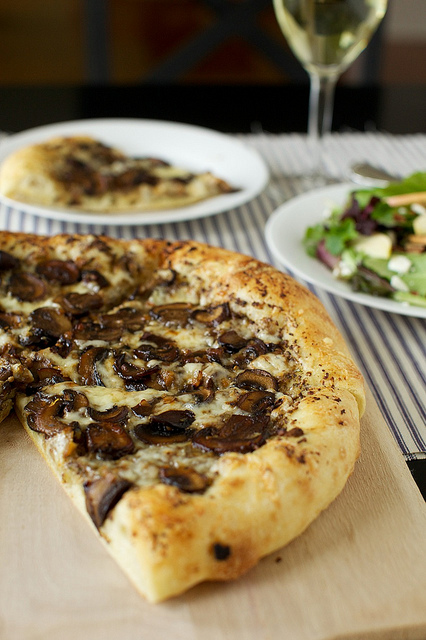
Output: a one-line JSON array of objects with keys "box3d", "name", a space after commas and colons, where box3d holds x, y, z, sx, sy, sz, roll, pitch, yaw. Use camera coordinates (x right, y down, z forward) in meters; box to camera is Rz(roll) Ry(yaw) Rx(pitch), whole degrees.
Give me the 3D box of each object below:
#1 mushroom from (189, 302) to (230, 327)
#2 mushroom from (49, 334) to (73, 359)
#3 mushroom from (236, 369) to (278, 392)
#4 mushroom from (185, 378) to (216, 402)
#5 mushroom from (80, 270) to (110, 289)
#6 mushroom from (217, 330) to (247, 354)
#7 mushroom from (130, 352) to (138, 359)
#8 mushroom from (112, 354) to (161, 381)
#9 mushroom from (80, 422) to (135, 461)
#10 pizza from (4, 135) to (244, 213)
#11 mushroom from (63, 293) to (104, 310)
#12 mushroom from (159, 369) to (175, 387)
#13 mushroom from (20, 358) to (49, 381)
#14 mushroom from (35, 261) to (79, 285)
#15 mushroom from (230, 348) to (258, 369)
[{"box3d": [-0.008, -0.009, 1.200, 0.059, 0.014, 0.049, -28, 39, -28], "name": "mushroom"}, {"box3d": [-0.279, 0.047, 1.100, 0.026, 0.009, 0.040, 11, 31, -8], "name": "mushroom"}, {"box3d": [0.071, 0.098, 1.012, 0.042, 0.011, 0.041, 19, 34, 25], "name": "mushroom"}, {"box3d": [-0.025, 0.110, 0.976, 0.035, 0.009, 0.033, 11, 39, 24], "name": "mushroom"}, {"box3d": [-0.254, -0.091, 1.287, 0.075, 0.021, 0.036, 29, 49, 33], "name": "mushroom"}, {"box3d": [0.033, 0.036, 1.124, 0.050, 0.013, 0.061, -17, 41, -17], "name": "mushroom"}, {"box3d": [-0.140, 0.061, 1.083, 0.006, 0.004, 0.021, -37, 36, -14], "name": "mushroom"}, {"box3d": [-0.134, 0.076, 1.037, 0.059, 0.012, 0.038, 16, 34, 30], "name": "mushroom"}, {"box3d": [-0.152, 0.174, 0.870, 0.099, 0.022, 0.071, 9, 14, 35], "name": "mushroom"}, {"box3d": [-0.291, -0.413, 1.769, 0.521, 0.066, 0.329, 10, 25, 19], "name": "pizza"}, {"box3d": [-0.264, -0.035, 1.239, 0.076, 0.025, 0.058, -10, 39, -9], "name": "mushroom"}, {"box3d": [-0.077, 0.092, 1.015, 0.024, 0.006, 0.022, -24, 67, 30], "name": "mushroom"}, {"box3d": [-0.303, 0.087, 1.060, 0.036, 0.010, 0.043, 2, 38, -25], "name": "mushroom"}, {"box3d": [-0.332, -0.106, 1.301, 0.099, 0.023, 0.058, 16, 42, 21], "name": "mushroom"}, {"box3d": [0.054, 0.067, 1.090, 0.039, 0.010, 0.037, 19, 50, 32], "name": "mushroom"}]
